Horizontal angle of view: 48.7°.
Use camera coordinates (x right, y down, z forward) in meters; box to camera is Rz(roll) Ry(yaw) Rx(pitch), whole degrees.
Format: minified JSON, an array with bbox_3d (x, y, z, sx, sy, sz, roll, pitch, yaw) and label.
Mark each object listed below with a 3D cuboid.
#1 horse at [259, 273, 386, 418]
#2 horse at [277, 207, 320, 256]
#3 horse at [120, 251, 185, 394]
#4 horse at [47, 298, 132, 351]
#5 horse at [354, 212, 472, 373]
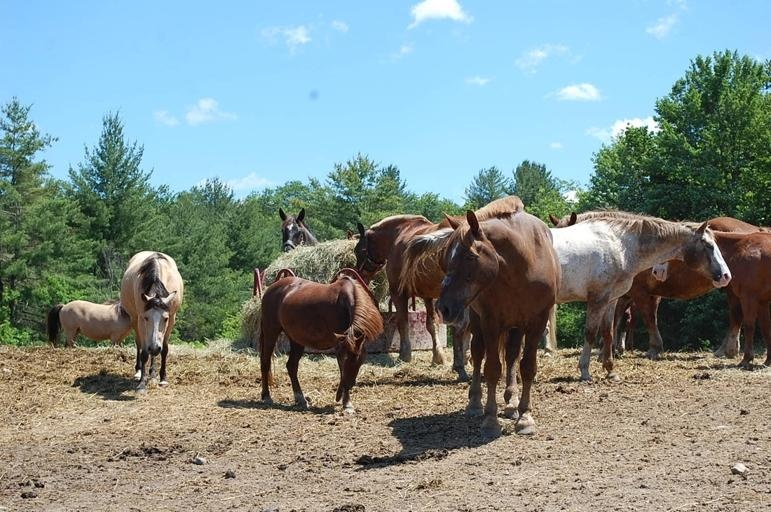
[{"bbox_3d":[-1.498,1.933,18.607,1.339,3.070,4.588,-1,-1,-38],"label":"horse"},{"bbox_3d":[-2.610,-0.726,25.042,0.975,1.446,2.710,0,-5,-8],"label":"horse"},{"bbox_3d":[-5.527,1.487,19.928,1.340,3.290,2.159,1,-5,-18],"label":"horse"},{"bbox_3d":[-8.768,2.018,25.148,2.415,1.280,0.658,-1,-5,6],"label":"horse"},{"bbox_3d":[0.831,0.822,19.994,1.288,3.596,4.665,-6,5,-34],"label":"horse"}]
